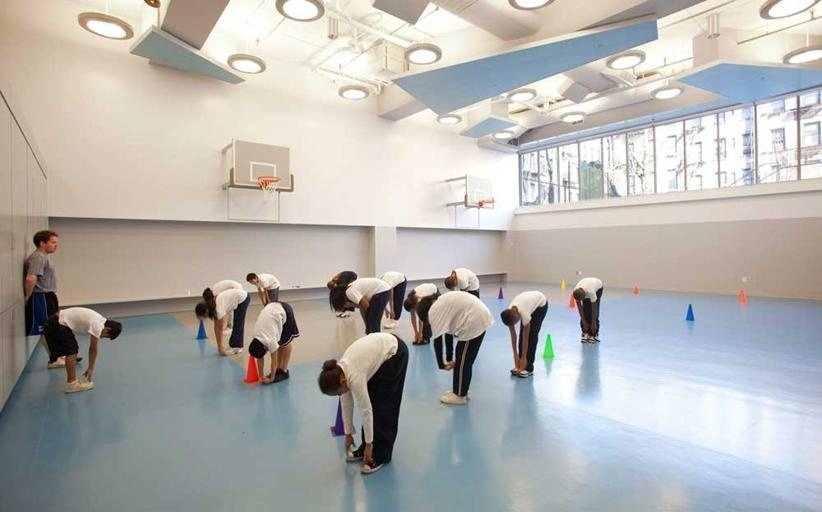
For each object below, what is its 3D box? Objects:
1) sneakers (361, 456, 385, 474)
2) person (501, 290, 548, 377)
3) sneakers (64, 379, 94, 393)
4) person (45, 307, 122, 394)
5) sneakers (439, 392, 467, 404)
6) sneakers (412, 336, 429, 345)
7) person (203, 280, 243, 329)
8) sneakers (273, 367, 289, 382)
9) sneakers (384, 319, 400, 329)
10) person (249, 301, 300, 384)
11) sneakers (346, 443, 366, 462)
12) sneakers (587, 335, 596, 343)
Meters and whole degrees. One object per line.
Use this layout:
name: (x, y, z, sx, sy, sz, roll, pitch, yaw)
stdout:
sneakers: (-0.491, 2.586, 5.887, 0.128, 0.141, 0.352, -6, -15, 22)
person: (1.756, 1.254, 7.488, 0.395, 1.345, 1.032, 6, 11, 39)
sneakers: (-5.052, 1.961, 7.258, 0.406, 0.180, 0.175, 1, -1, -21)
person: (-5.235, 1.530, 7.510, 0.961, 1.165, 0.782, 5, 22, -41)
sneakers: (0.606, 2.080, 6.953, 0.260, 0.097, 0.180, 7, -5, 2)
sneakers: (0.181, 1.587, 8.974, 0.137, 0.106, 0.249, -6, -14, 43)
person: (-3.670, 0.858, 9.302, 0.950, 0.360, 0.677, -29, 16, -36)
sneakers: (-2.076, 1.878, 7.505, 0.135, 0.114, 0.254, -3, -9, 20)
sneakers: (-0.422, 1.410, 9.924, 0.311, 0.231, 0.148, -1, 4, -12)
person: (-2.218, 1.363, 7.400, 0.548, 1.213, 1.103, 1, 8, 8)
sneakers: (-0.755, 2.507, 6.087, 0.121, 0.217, 0.344, 7, -9, -36)
sneakers: (3.397, 1.555, 8.919, 0.158, 0.091, 0.095, 3, 8, 21)
